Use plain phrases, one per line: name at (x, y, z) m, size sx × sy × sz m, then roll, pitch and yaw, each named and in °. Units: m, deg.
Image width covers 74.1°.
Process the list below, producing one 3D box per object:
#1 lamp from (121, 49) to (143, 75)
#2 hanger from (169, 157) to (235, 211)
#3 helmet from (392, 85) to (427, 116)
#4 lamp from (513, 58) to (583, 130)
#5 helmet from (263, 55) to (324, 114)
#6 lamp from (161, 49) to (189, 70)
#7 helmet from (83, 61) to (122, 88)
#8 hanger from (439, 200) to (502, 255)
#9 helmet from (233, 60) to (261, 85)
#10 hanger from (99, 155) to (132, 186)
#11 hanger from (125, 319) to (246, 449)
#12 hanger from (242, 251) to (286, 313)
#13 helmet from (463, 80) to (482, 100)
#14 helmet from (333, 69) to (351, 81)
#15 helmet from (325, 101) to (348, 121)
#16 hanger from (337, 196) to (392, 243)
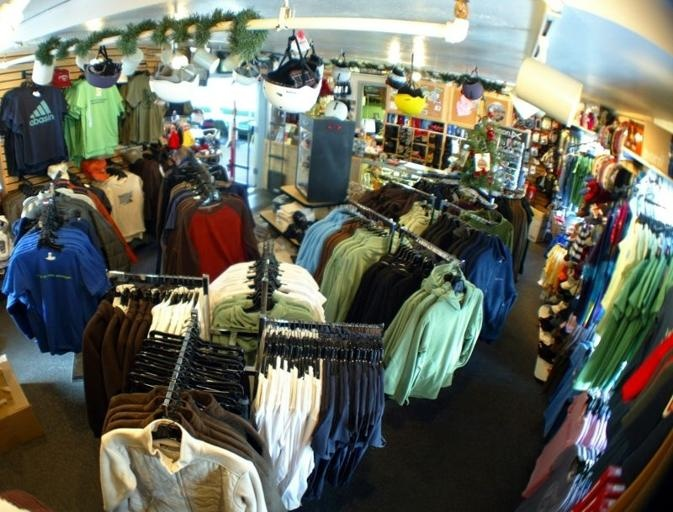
lamp at (-1.923, -1.828, 4.194) m, size 0.185 × 0.246 × 0.385 m, roll -8°, pitch 30°, yaw -23°
hanger at (-1.346, -0.738, 4.457) m, size 0.450 × 0.258 × 0.741 m, roll -9°, pitch 38°, yaw -28°
helmet at (0.830, -1.698, 4.891) m, size 0.286 × 0.287 × 0.280 m, roll -42°, pitch 46°, yaw -22°
lamp at (0.961, -0.752, 2.026) m, size 0.314 × 0.249 × 0.240 m, roll 25°, pitch 33°, yaw 36°
helmet at (-0.282, -1.260, 3.289) m, size 0.347 × 0.284 × 0.487 m, roll 16°, pitch 54°, yaw 14°
lamp at (-1.329, -1.625, 3.678) m, size 0.217 × 0.146 × 0.154 m, roll -6°, pitch 28°, yaw -20°
helmet at (-2.172, -1.696, 4.177) m, size 0.307 × 0.240 × 0.306 m, roll -11°, pitch 30°, yaw -27°
hanger at (1.367, -0.409, 4.619) m, size 0.706 × 0.283 × 0.538 m, roll -18°, pitch 27°, yaw -42°
helmet at (-0.853, -1.794, 4.376) m, size 0.188 × 0.105 × 0.266 m, roll 9°, pitch 33°, yaw 4°
hanger at (-3.094, -1.231, 6.235) m, size 0.376 × 0.183 × 0.525 m, roll -3°, pitch 21°, yaw -34°
hanger at (-0.745, 0.627, 2.398) m, size 0.424 × 0.285 × 0.640 m, roll 12°, pitch 6°, yaw 7°
hanger at (-0.481, 0.174, 2.942) m, size 0.132 × 0.369 × 0.254 m, roll 9°, pitch -1°, yaw -34°
helmet at (1.421, -1.721, 4.657) m, size 0.210 × 0.197 × 0.230 m, roll 11°, pitch 27°, yaw 13°
helmet at (0.087, -2.237, 5.505) m, size 0.159 × 0.193 × 0.301 m, roll 9°, pitch 27°, yaw 11°
helmet at (0.010, -2.054, 6.345) m, size 0.324 × 0.253 × 0.623 m, roll 3°, pitch 27°, yaw -3°
hanger at (0.364, -0.410, 4.450) m, size 0.220 × 0.230 × 0.991 m, roll -10°, pitch 31°, yaw -27°
